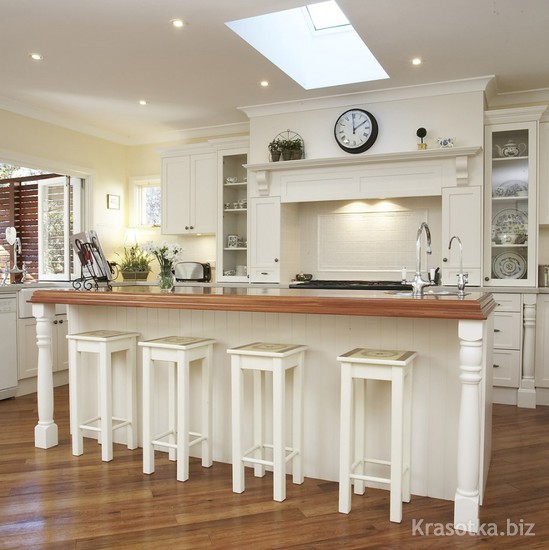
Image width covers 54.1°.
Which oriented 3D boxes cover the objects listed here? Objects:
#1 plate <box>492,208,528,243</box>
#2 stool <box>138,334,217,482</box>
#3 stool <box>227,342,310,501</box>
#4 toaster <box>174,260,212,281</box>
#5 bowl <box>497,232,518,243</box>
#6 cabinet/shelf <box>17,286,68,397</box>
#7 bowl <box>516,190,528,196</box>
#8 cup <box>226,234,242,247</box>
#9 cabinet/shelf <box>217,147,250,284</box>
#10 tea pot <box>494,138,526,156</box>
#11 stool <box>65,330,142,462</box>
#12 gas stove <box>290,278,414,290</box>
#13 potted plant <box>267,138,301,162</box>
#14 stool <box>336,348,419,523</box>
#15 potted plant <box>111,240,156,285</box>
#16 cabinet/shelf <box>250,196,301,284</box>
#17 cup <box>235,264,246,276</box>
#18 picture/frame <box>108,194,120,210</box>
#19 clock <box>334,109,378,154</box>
[{"bbox_3d":[2.024,-0.409,4.590,0.335,0.351,0.036,1,-1,23],"label":"plate"},{"bbox_3d":[-0.587,0.707,3.000,0.494,0.720,0.405,1,3,24],"label":"stool"},{"bbox_3d":[-0.044,0.713,2.751,0.397,0.721,0.428,0,2,13],"label":"stool"},{"bbox_3d":[-0.639,-0.091,4.258,0.313,0.245,0.158,1,3,2],"label":"toaster"},{"bbox_3d":[1.994,-0.287,4.598,0.158,0.096,0.082,0,1,26],"label":"bowl"},{"bbox_3d":[-2.049,0.576,4.833,0.202,0.952,0.596,1,3,20],"label":"cabinet/shelf"},{"bbox_3d":[2.099,-0.692,4.556,0.060,0.025,0.069,-1,0,-8],"label":"bowl"},{"bbox_3d":[-0.433,-0.366,5.841,0.140,0.092,0.129,1,-1,0],"label":"cup"},{"bbox_3d":[-0.418,-0.611,5.855,0.353,1.359,0.375,1,3,19],"label":"cabinet/shelf"},{"bbox_3d":[2.012,-1.082,4.581,0.193,0.117,0.138,1,4,21],"label":"tea pot"},{"bbox_3d":[-1.073,0.707,3.278,0.561,0.726,0.381,2,3,40],"label":"stool"},{"bbox_3d":[0.730,0.095,5.136,1.372,0.061,0.859,2,3,44],"label":"gas stove"},{"bbox_3d":[0.114,-1.171,5.097,0.342,0.198,0.221,0,1,10],"label":"potted plant"},{"bbox_3d":[0.486,0.721,2.526,0.371,0.728,0.414,0,2,10],"label":"stool"},{"bbox_3d":[-1.679,-0.159,6.480,0.478,0.456,0.710,-1,2,-16],"label":"potted plant"},{"bbox_3d":[0.024,-0.343,5.431,0.555,0.859,0.342,-1,3,-15],"label":"cabinet/shelf"},{"bbox_3d":[-0.357,-0.042,5.808,0.109,0.095,0.102,0,0,0],"label":"cup"},{"bbox_3d":[-1.974,-0.891,6.608,0.024,0.148,0.220,1,2,19],"label":"picture/frame"},{"bbox_3d":[0.738,-1.319,4.899,0.369,0.339,0.355,2,14,28],"label":"clock"}]
